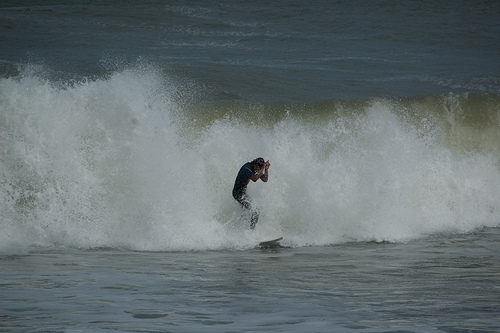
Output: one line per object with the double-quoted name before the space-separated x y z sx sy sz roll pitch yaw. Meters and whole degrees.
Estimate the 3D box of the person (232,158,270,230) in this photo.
"person" -0.033 0.672 24.855 0.922 1.822 0.893 2 24 -5
